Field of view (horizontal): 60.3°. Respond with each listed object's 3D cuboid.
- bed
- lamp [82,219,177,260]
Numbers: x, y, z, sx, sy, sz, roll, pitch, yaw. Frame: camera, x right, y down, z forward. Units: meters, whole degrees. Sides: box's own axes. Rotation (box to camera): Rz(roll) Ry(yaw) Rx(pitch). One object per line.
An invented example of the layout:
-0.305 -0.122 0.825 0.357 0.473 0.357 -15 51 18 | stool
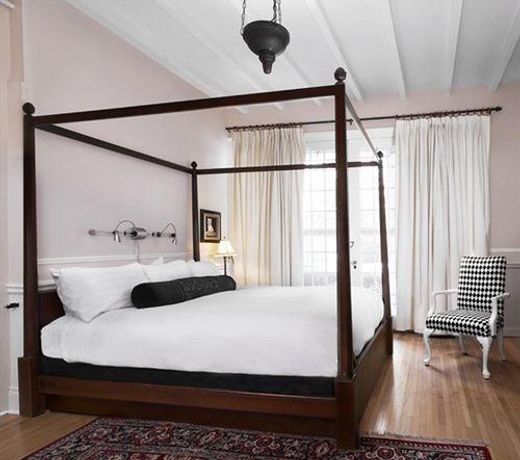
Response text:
-0.223 0.255 3.869 2.345 2.469 2.478 -1 1 17 | bed
-1.310 0.060 4.408 0.200 0.543 1.048 -6 -8 24 | lamp
